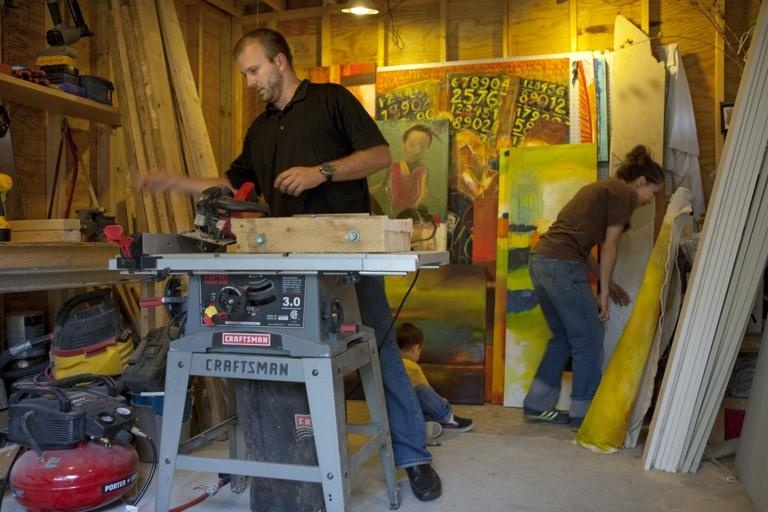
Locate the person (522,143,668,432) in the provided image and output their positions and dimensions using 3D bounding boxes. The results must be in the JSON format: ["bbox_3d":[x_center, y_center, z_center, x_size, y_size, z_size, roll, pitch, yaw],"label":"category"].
[{"bbox_3d":[1.350,0.325,4.666,0.689,1.722,0.449,4,11,21],"label":"person"}]

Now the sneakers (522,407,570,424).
[{"bbox_3d":[1.166,1.147,4.808,0.318,0.147,0.120,-1,-5,1],"label":"sneakers"}]

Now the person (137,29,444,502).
[{"bbox_3d":[-0.436,0.041,3.671,1.445,2.580,0.993,7,12,35],"label":"person"}]

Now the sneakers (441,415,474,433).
[{"bbox_3d":[0.504,1.154,4.586,0.217,0.099,0.101,-3,9,-22],"label":"sneakers"}]

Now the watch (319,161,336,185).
[{"bbox_3d":[-0.283,-0.431,3.425,0.068,0.099,0.034,-2,-3,-27],"label":"watch"}]
